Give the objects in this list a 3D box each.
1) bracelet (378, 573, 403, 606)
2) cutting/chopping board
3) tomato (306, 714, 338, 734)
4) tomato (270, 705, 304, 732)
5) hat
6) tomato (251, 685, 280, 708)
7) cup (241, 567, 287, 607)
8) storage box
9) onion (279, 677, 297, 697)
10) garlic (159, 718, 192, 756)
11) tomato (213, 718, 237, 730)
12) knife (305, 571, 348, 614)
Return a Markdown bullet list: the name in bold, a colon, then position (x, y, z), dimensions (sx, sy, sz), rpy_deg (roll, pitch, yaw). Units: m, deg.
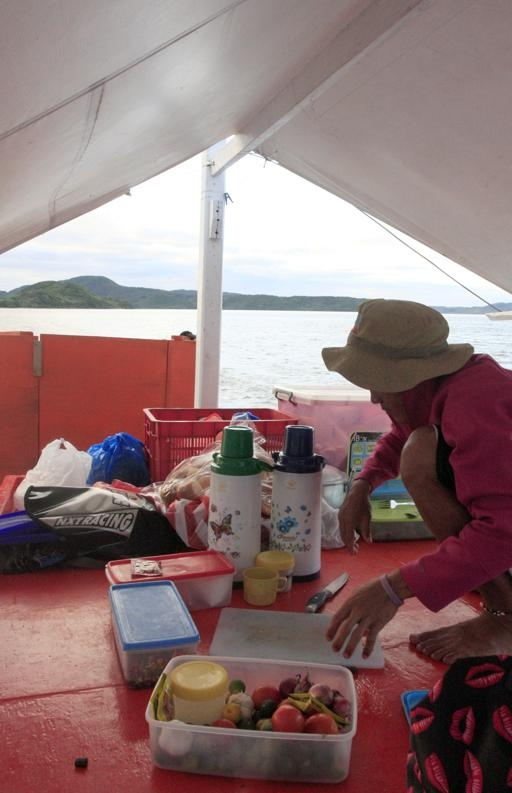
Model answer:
- **bracelet**: position (0.254, 0.363, 1.177), dimensions (0.017, 0.050, 0.046), rpy_deg (-33, -16, 16)
- **cutting/chopping board**: position (0.088, 0.519, 1.344), dimensions (0.359, 0.025, 0.261), rpy_deg (2, 4, 5)
- **tomato**: position (0.096, 0.474, 0.897), dimensions (0.033, 0.031, 0.039), rpy_deg (0, -3, -5)
- **tomato**: position (0.046, 0.466, 0.892), dimensions (0.036, 0.034, 0.033), rpy_deg (0, 6, 1)
- **hat**: position (0.307, -0.108, 1.360), dimensions (0.235, 0.113, 0.263), rpy_deg (9, 20, 44)
- **tomato**: position (0.015, 0.473, 0.981), dimensions (0.033, 0.031, 0.029), rpy_deg (0, 43, -7)
- **cup**: position (0.020, 0.474, 1.538), dimensions (0.097, 0.064, 0.074), rpy_deg (0, 0, 2)
- **storage box**: position (0.309, 0.112, 2.735), dimensions (0.557, 0.282, 0.554), rpy_deg (5, -1, 29)
- **onion**: position (0.052, 0.467, 1.003), dimensions (0.025, 0.028, 0.024), rpy_deg (3, -3, 4)
- **garlic**: position (-0.117, 0.492, 0.894), dimensions (0.046, 0.070, 0.037), rpy_deg (1, 5, -8)
- **tomato**: position (-0.046, 0.476, 0.902), dimensions (0.026, 0.015, 0.020), rpy_deg (10, -21, -36)
- **knife**: position (0.180, 0.495, 1.603), dimensions (0.040, 0.026, 0.245), rpy_deg (0, 4, 23)
